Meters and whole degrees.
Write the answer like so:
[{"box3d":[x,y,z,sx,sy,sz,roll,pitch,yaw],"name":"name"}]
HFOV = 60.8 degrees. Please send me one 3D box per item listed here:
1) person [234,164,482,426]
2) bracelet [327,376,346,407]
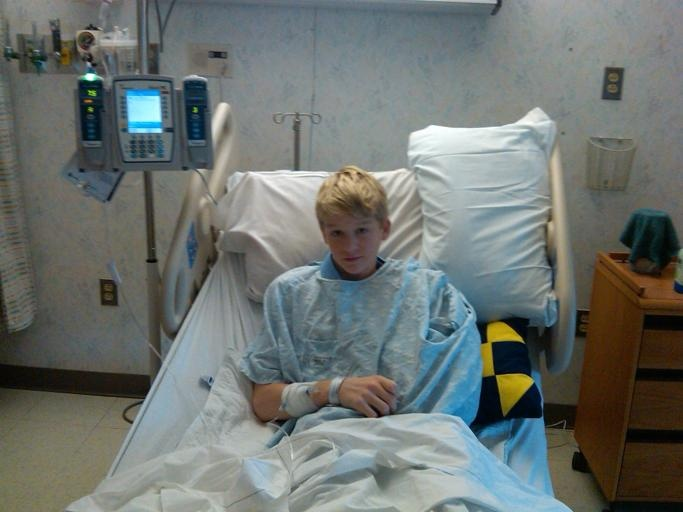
[{"box3d":[0.054,0.259,2.029,0.797,1.196,0.593,-3,-6,-1],"name":"person"},{"box3d":[-0.021,0.428,1.861,0.063,0.074,0.071,1,31,9],"name":"bracelet"}]
